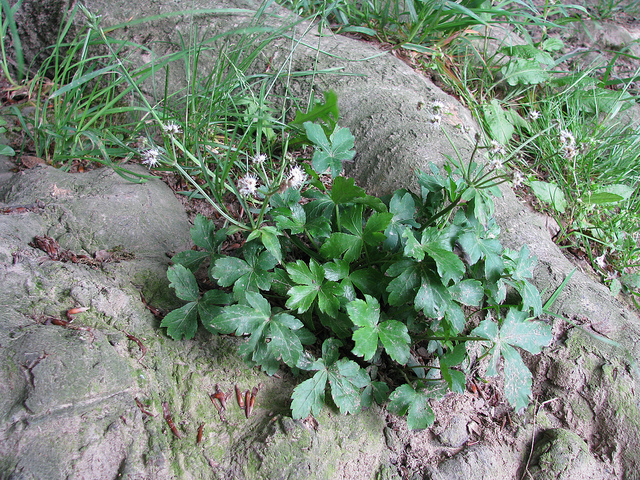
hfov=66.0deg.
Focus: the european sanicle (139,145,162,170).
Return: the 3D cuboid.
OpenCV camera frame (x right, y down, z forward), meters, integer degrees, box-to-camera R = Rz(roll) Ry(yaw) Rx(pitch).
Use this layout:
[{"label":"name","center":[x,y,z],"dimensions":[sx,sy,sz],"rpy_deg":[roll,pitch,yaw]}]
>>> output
[{"label":"european sanicle","center":[-0.982,-0.473,2.860],"dimensions":[0.116,0.063,0.142],"rpy_deg":[16,74,8]}]
